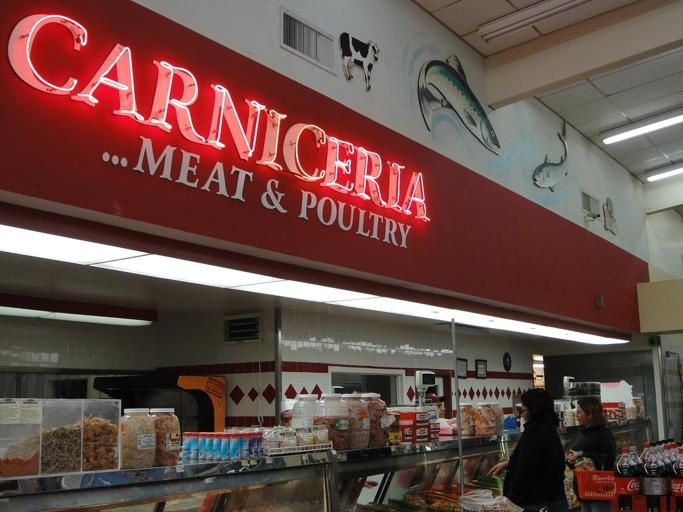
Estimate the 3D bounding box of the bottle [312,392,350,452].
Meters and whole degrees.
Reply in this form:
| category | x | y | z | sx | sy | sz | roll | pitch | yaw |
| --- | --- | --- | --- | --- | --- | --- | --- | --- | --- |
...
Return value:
| category | x | y | z | sx | sy | sz | roll | pitch | yaw |
| --- | --- | --- | --- | --- | --- | --- | --- | --- | --- |
| bottle | -0.058 | 1.065 | 3.620 | 0.243 | 0.351 | 0.284 | 4 | -14 | -20 |

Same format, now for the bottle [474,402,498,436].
| category | x | y | z | sx | sy | sz | roll | pitch | yaw |
| --- | --- | --- | --- | --- | --- | --- | --- | --- | --- |
| bottle | 1.266 | 1.450 | 4.967 | 0.253 | 0.292 | 0.192 | 0 | -4 | -12 |

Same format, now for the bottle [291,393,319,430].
| category | x | y | z | sx | sy | sz | roll | pitch | yaw |
| --- | --- | --- | --- | --- | --- | --- | --- | --- | --- |
| bottle | -0.233 | 0.998 | 3.590 | 0.164 | 0.215 | 0.176 | 3 | -9 | 0 |

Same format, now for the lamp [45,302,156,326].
| category | x | y | z | sx | sy | sz | roll | pitch | yaw |
| --- | --- | --- | --- | --- | --- | --- | --- | --- | --- |
| lamp | -2.335 | 0.586 | 5.591 | 0.359 | 0.112 | 0.715 | -12 | -18 | 43 |

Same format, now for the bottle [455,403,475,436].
| category | x | y | z | sx | sy | sz | roll | pitch | yaw |
| --- | --- | --- | --- | --- | --- | --- | --- | --- | --- |
| bottle | 1.083 | 1.407 | 4.804 | 0.124 | 0.258 | 0.284 | -3 | -14 | 12 |

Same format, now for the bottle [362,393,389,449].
| category | x | y | z | sx | sy | sz | roll | pitch | yaw |
| --- | --- | --- | --- | --- | --- | --- | --- | --- | --- |
| bottle | 0.223 | 1.136 | 3.802 | 0.244 | 0.417 | 0.231 | 0 | -12 | 0 |

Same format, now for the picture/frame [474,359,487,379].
| category | x | y | z | sx | sy | sz | roll | pitch | yaw |
| --- | --- | --- | --- | --- | --- | --- | --- | --- | --- |
| picture/frame | 2.142 | 1.753 | 8.676 | 0.027 | 0.306 | 0.280 | -6 | -11 | 37 |

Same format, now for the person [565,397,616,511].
| category | x | y | z | sx | sy | sz | roll | pitch | yaw |
| --- | --- | --- | --- | --- | --- | --- | --- | --- | --- |
| person | 2.372 | 1.884 | 5.341 | 0.434 | 1.059 | 0.949 | -6 | -14 | 24 |

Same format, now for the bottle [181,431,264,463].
| category | x | y | z | sx | sy | sz | roll | pitch | yaw |
| --- | --- | --- | --- | --- | --- | --- | --- | --- | --- |
| bottle | -0.649 | 1.031 | 3.054 | 0.280 | 0.124 | 0.227 | -1 | -5 | 7 |
